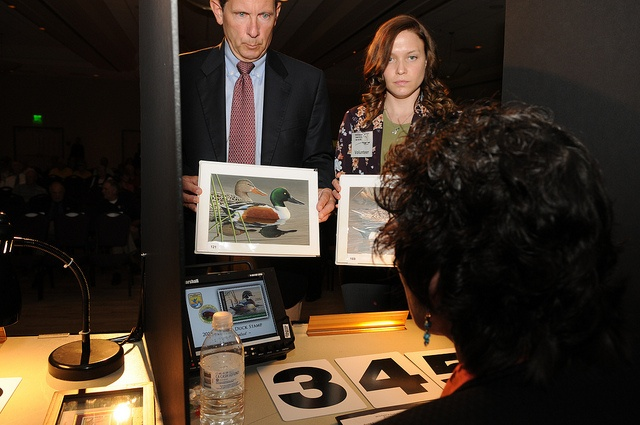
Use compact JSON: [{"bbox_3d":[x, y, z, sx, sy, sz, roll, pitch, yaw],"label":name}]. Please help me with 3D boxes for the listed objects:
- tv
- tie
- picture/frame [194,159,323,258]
[{"bbox_3d":[-0.288,0.344,1.448,0.370,0.333,0.178,-7,-26,-39],"label":"tv"},{"bbox_3d":[-0.357,-0.457,2.086,0.137,0.462,0.091,-3,6,-10],"label":"tie"},{"bbox_3d":[-0.224,-0.008,1.647,0.408,0.287,0.018,0,-8,-8],"label":"picture/frame"}]
